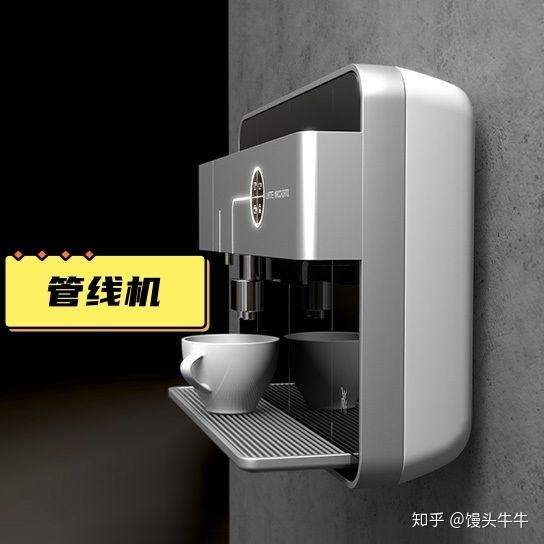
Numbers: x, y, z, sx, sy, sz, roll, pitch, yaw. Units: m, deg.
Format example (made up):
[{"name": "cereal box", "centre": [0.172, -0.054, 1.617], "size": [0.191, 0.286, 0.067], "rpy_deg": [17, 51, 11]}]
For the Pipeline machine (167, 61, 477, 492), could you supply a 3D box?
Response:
[{"name": "Pipeline machine", "centre": [0.019, -0.005, 0.514], "size": [0.153, 0.357, 0.312], "rpy_deg": [-3, 4, -23]}]

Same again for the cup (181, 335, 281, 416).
[{"name": "cup", "centre": [-0.053, 0.114, 0.561], "size": [0.088, 0.092, 0.125], "rpy_deg": [1, 1, 30]}]
